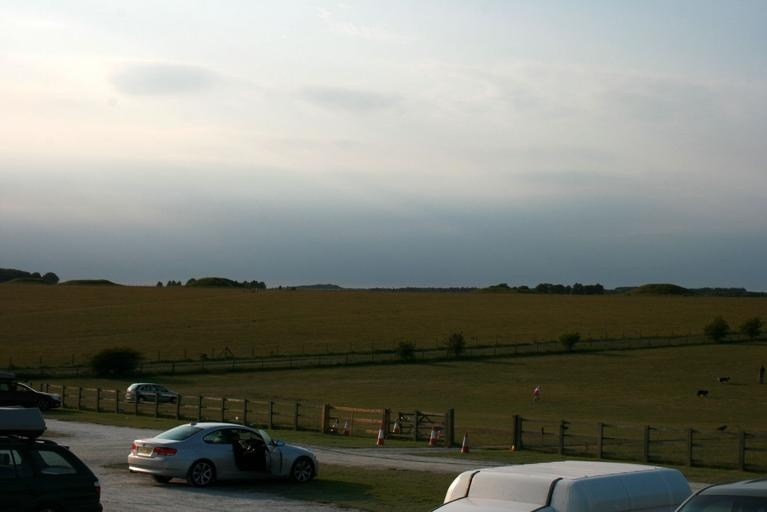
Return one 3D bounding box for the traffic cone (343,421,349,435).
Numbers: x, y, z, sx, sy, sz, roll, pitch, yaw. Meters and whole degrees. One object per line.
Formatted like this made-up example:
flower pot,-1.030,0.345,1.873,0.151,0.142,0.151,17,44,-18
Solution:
traffic cone,-2.419,11.169,81.555,0.445,0.981,1.150,2,0,-1
